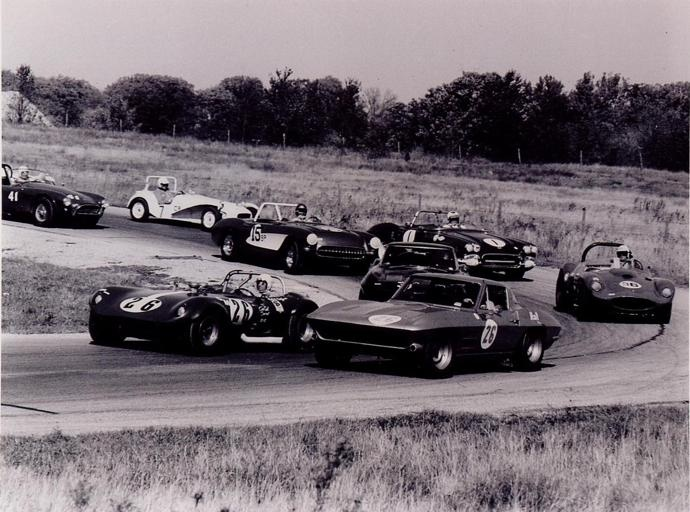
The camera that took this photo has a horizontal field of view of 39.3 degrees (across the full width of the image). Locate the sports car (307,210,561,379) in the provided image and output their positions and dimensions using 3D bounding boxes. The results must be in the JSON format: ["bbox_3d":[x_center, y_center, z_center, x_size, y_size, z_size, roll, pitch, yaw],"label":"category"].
[{"bbox_3d":[1.509,0.897,14.498,1.516,1.468,3.463,2,-4,34],"label":"sports car"}]

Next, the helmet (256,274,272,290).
[{"bbox_3d":[-1.265,0.418,15.244,0.175,0.259,0.243,-1,-13,29],"label":"helmet"}]

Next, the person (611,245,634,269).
[{"bbox_3d":[5.614,0.032,19.539,0.409,0.434,0.737,4,-1,8],"label":"person"}]

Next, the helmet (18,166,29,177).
[{"bbox_3d":[-6.809,-1.792,20.464,0.219,0.258,0.185,-4,7,17],"label":"helmet"}]

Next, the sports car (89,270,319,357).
[{"bbox_3d":[-1.978,0.920,14.893,1.611,0.927,2.605,1,-3,38],"label":"sports car"}]

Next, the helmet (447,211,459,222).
[{"bbox_3d":[2.458,-0.889,22.055,0.237,0.309,0.328,3,22,8],"label":"helmet"}]

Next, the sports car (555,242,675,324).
[{"bbox_3d":[5.139,0.577,18.415,1.669,1.631,1.812,2,12,-5],"label":"sports car"}]

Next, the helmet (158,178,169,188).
[{"bbox_3d":[-4.204,-1.696,22.364,0.197,0.285,0.378,-1,13,-18],"label":"helmet"}]

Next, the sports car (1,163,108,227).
[{"bbox_3d":[-6.378,-1.287,20.458,1.876,0.756,1.139,9,5,32],"label":"sports car"}]

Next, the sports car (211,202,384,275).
[{"bbox_3d":[-1.181,-0.315,20.227,2.863,1.177,1.645,5,5,35],"label":"sports car"}]

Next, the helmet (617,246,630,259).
[{"bbox_3d":[5.474,-0.060,19.080,0.210,0.332,0.323,2,-3,1],"label":"helmet"}]
